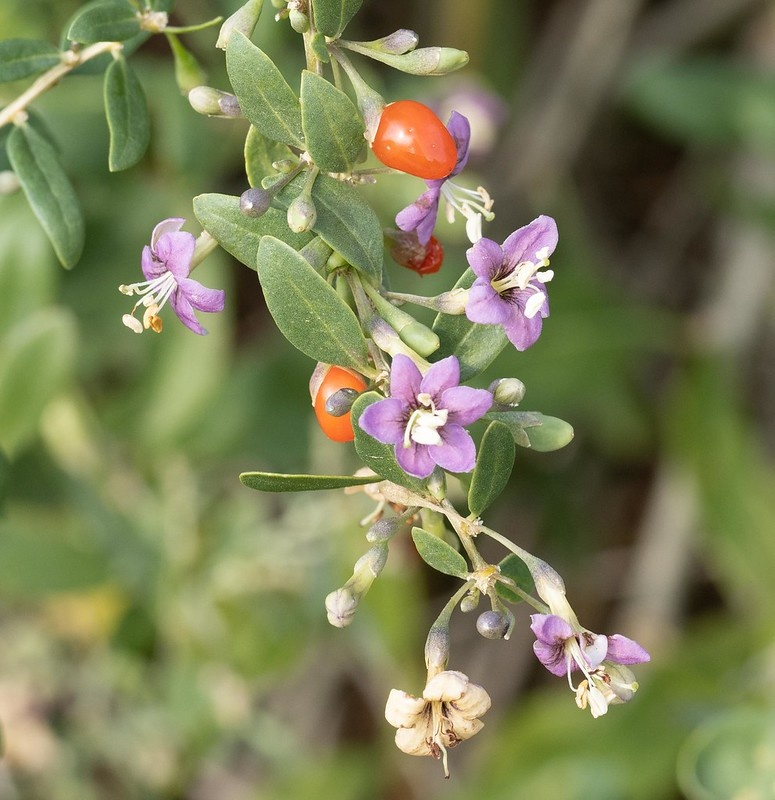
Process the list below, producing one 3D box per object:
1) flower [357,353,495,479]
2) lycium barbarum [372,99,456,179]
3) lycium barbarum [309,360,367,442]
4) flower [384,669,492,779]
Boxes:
[{"bbox_3d":[0.038,0.016,0.870,0.111,0.062,0.107,17,63,7],"label":"flower"},{"bbox_3d":[0.026,-0.261,0.925,0.086,0.049,0.068,39,92,7],"label":"lycium barbarum"},{"bbox_3d":[-0.055,0.001,1.001,0.061,0.067,0.082,-15,86,12],"label":"lycium barbarum"},{"bbox_3d":[0.050,0.352,1.001,0.091,0.243,0.096,33,66,15],"label":"flower"}]
